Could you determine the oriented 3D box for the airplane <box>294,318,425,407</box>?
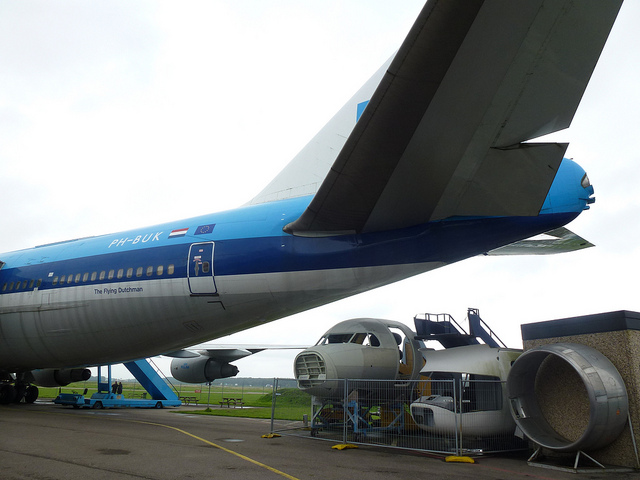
[{"bbox_3d":[1.307,3.732,18.129,2.794,1.997,5.480,-8,-6,36],"label":"airplane"}]
